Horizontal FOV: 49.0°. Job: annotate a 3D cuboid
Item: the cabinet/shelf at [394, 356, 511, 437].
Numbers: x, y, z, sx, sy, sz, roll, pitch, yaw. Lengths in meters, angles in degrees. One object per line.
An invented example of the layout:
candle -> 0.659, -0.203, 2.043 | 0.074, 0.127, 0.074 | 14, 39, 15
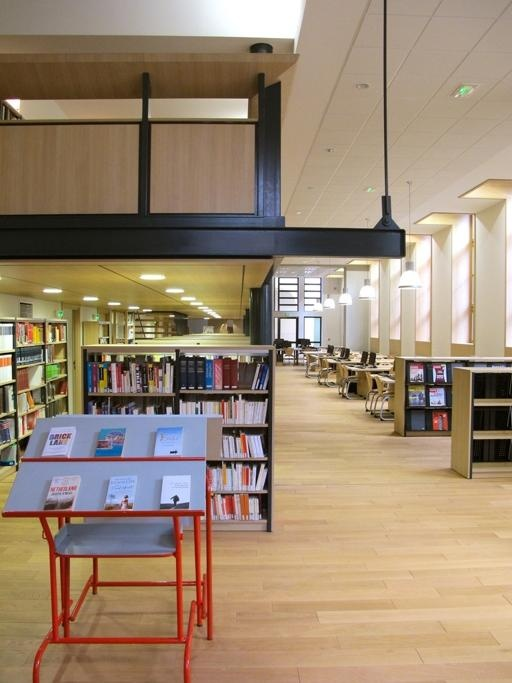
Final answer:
cabinet/shelf -> 2.377, 0.657, 6.807 | 1.069, 0.748, 0.379 | 0, -4, 0

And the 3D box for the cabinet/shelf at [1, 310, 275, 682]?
cabinet/shelf -> -0.561, 0.963, 3.230 | 1.197, 1.529, 1.239 | -1, -3, 0
